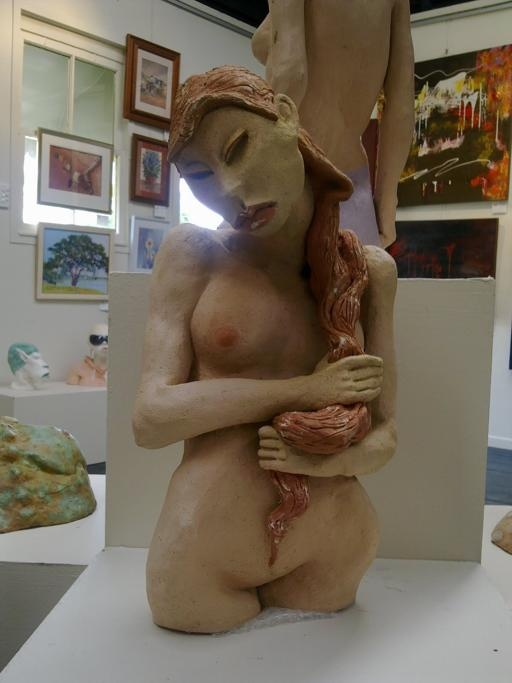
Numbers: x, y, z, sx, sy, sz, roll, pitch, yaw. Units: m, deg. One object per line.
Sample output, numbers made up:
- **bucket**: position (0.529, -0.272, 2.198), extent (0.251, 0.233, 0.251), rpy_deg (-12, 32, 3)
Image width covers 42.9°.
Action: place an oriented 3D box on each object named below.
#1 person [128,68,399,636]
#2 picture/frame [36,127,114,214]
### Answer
- **person**: position (0.031, 0.062, 1.469), extent (0.556, 1.233, 0.421), rpy_deg (1, 9, -7)
- **picture/frame**: position (-1.671, -1.558, 5.911), extent (0.059, 0.731, 0.848), rpy_deg (9, 8, 44)
